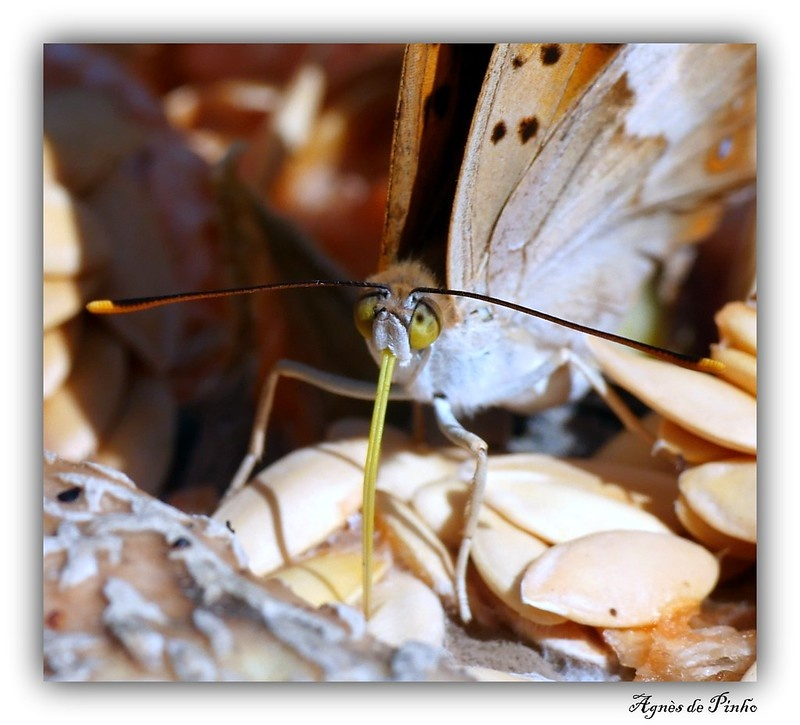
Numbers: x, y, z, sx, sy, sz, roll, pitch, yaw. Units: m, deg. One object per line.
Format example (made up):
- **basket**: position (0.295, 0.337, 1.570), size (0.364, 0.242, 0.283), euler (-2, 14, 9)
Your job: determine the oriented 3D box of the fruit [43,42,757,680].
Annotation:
- **fruit**: position (0.060, -0.003, 0.929), size (0.548, 0.600, 0.299), euler (4, 10, -4)
